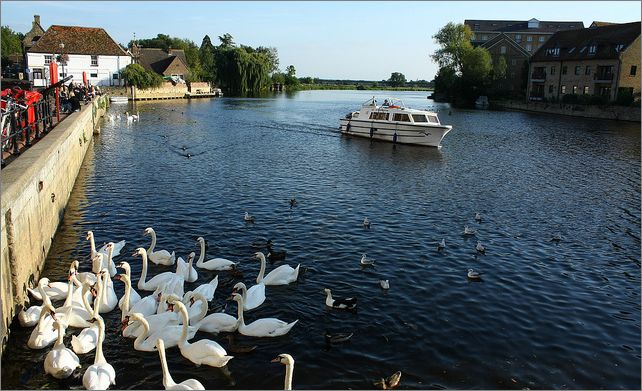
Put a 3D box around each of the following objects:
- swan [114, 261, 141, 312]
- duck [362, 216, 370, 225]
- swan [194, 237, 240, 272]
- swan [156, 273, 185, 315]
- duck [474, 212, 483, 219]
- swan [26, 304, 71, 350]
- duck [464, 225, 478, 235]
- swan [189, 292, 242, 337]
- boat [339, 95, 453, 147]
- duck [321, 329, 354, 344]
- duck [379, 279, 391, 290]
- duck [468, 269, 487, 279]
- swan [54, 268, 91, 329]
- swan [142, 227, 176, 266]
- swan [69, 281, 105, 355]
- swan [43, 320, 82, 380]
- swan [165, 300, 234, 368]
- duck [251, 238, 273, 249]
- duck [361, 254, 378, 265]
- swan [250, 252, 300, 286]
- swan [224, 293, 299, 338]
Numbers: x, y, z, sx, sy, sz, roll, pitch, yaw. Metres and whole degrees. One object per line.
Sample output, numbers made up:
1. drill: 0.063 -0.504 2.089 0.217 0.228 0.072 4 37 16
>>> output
1. swan: -7.899 3.810 19.082 0.827 2.209 0.894 2 0 0
2. duck: 2.532 1.428 26.107 0.309 0.463 0.619 2 -4 7
3. swan: -4.817 2.680 21.753 1.905 1.357 1.188 4 15 9
4. swan: -6.115 3.919 18.890 0.536 0.589 1.492 5 39 6
5. duck: 9.067 1.219 26.892 0.295 0.369 0.387 6 10 32
6. swan: -10.269 4.801 17.548 1.479 1.780 1.351 3 0 9
7. duck: 8.073 1.903 25.052 0.606 0.433 0.338 -6 -8 19
8. swan: -4.218 4.643 18.282 1.856 1.649 0.829 0 7 -1
9. boat: 8.018 -6.631 51.420 7.964 6.041 14.529 -6 15 -31
10. duck: 0.643 5.452 17.890 0.892 0.600 0.463 -3 -17 5
11. duck: 2.877 3.950 20.575 0.499 0.347 0.452 -2 15 -12
12. duck: 7.119 3.636 21.368 0.603 0.412 0.344 0 -6 -6
13. swan: -9.714 4.239 18.374 1.160 2.573 1.213 2 -1 -16
14. swan: -7.735 2.516 22.233 0.803 1.596 1.944 0 -12 39
15. swan: -8.670 4.601 17.403 1.044 2.702 1.080 4 -1 27
16. swan: -9.215 5.462 16.413 1.125 1.861 0.726 5 15 14
17. swan: -4.519 5.212 17.205 2.567 2.210 1.057 5 7 21
18. duck: -2.962 2.385 23.460 1.052 0.284 0.833 4 15 9
19. duck: 2.221 3.072 22.124 0.570 0.479 0.385 0 -9 -4
20. swan: -1.933 3.263 20.877 2.046 1.569 0.939 -5 7 -7
21. swan: -2.341 4.713 18.028 2.284 1.498 0.674 4 15 9
